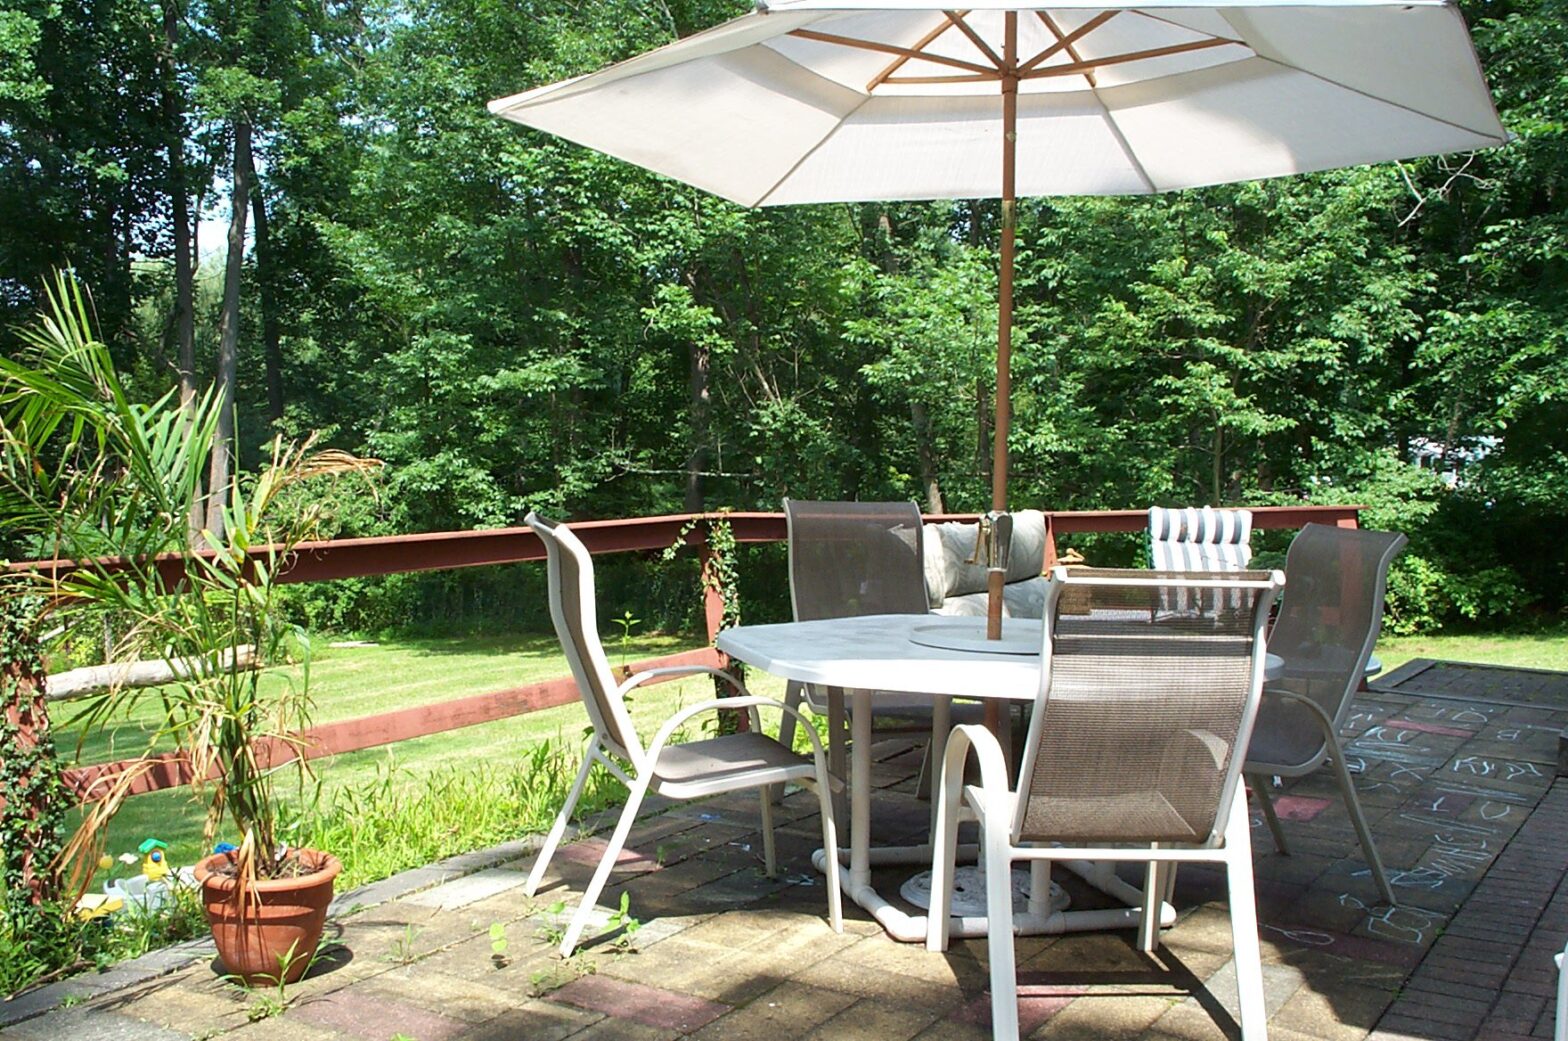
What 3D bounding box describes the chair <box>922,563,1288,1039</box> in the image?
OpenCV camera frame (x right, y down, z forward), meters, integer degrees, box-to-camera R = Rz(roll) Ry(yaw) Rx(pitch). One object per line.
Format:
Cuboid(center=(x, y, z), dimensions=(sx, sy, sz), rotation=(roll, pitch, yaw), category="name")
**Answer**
Cuboid(center=(0.916, 0.813, 3.439), dimensions=(0.926, 1.398, 0.715), rotation=(2, 11, 5), category="chair")
